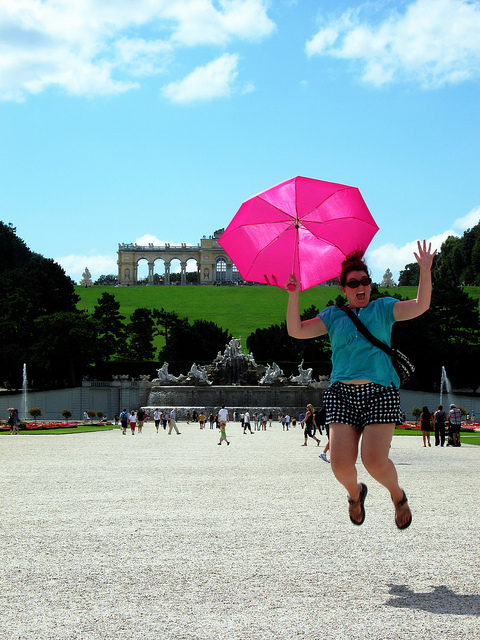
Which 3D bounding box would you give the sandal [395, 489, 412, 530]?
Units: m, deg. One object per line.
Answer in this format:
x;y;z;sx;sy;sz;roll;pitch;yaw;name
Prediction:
1.210;1.428;7.988;0.071;0.318;0.107;13;-25;-38;sandal

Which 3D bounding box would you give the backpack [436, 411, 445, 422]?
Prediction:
5.022;2.452;27.070;0.183;0.330;0.310;0;-13;10;backpack

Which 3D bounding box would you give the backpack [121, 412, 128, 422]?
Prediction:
-4.023;3.391;37.292;0.217;0.326;0.162;0;-14;-2;backpack

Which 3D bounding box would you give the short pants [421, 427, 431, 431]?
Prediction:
4.559;2.696;26.493;0.222;0.079;0.768;0;-6;8;short pants

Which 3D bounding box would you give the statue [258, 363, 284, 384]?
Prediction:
1.653;2.921;58.176;0.963;1.149;1.285;-2;-7;24;statue

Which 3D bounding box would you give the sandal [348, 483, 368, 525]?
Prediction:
0.869;1.361;7.994;0.115;0.334;0.116;-5;11;-39;sandal

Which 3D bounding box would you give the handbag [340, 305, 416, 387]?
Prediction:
0.927;0.262;7.978;0.686;0.262;0.489;-30;-13;16;handbag

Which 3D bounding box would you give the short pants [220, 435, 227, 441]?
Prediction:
-0.443;3.000;27.292;0.195;0.111;0.213;-6;-50;6;short pants

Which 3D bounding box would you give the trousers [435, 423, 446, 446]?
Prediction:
4.961;2.861;26.824;0.213;0.562;0.713;0;-6;9;trousers

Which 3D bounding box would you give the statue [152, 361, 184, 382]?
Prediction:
-4.064;2.832;59.365;1.105;0.926;1.219;-1;-10;4;statue

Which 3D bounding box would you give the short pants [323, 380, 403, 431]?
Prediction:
0.891;0.667;7.781;0.592;0.426;0.325;-2;-33;14;short pants

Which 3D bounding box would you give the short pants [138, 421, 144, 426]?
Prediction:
-3.690;3.822;39.493;0.151;0.165;0.291;-5;0;0;short pants

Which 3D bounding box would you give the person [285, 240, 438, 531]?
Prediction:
0.943;0.476;7.836;1.264;2.056;0.687;-5;-8;41;person
